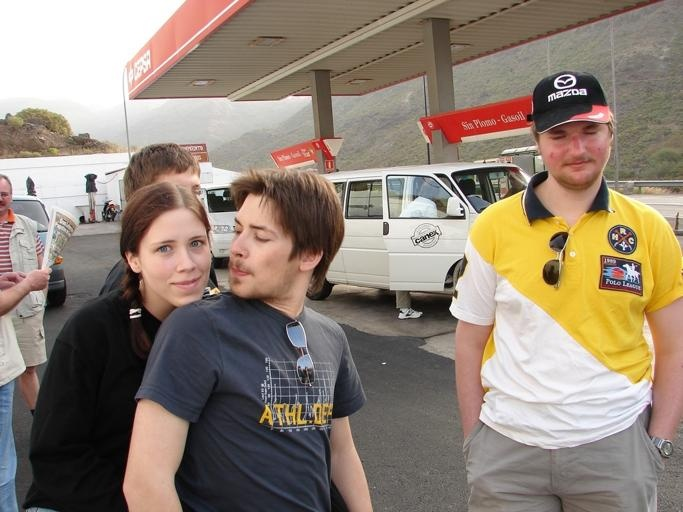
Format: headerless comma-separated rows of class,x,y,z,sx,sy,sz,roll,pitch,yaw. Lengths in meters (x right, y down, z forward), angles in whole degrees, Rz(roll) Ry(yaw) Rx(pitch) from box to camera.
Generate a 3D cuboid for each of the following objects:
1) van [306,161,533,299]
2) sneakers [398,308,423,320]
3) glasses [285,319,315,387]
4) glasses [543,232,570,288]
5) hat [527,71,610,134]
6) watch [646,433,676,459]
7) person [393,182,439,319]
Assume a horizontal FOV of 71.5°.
van,1.130,-0.404,8.320,3.513,1.491,2.280,0,1,44
sneakers,1.099,0.897,7.640,0.449,0.175,0.155,-2,9,-17
glasses,-0.128,0.248,1.410,0.044,0.120,0.136,4,-22,-19
glasses,0.828,0.007,1.846,0.068,0.197,0.113,4,13,38
hat,0.921,-0.661,1.944,0.337,0.178,0.389,4,32,28
watch,1.259,0.712,1.843,0.066,0.090,0.097,-22,19,-18
person,1.197,-0.123,7.510,0.679,2.191,0.449,-2,11,9
